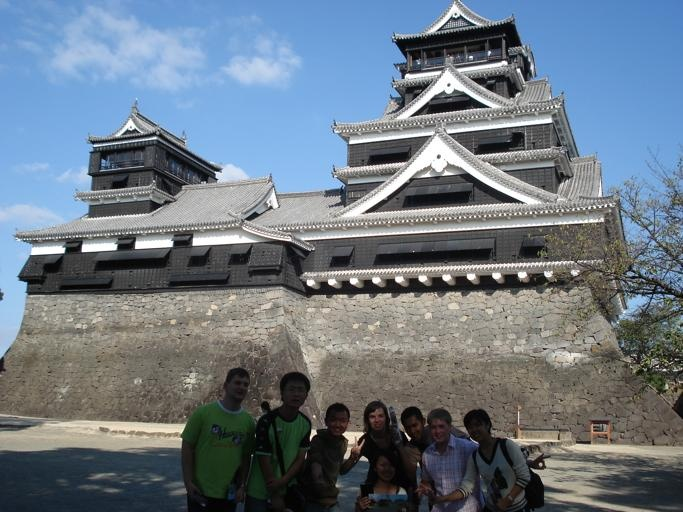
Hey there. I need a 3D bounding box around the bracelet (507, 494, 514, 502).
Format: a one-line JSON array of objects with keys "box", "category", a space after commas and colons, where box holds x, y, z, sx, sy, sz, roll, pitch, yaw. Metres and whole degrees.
[{"box": [1.877, 2.666, 5.913, 0.053, 0.049, 0.097, -16, -23, 36], "category": "bracelet"}]
